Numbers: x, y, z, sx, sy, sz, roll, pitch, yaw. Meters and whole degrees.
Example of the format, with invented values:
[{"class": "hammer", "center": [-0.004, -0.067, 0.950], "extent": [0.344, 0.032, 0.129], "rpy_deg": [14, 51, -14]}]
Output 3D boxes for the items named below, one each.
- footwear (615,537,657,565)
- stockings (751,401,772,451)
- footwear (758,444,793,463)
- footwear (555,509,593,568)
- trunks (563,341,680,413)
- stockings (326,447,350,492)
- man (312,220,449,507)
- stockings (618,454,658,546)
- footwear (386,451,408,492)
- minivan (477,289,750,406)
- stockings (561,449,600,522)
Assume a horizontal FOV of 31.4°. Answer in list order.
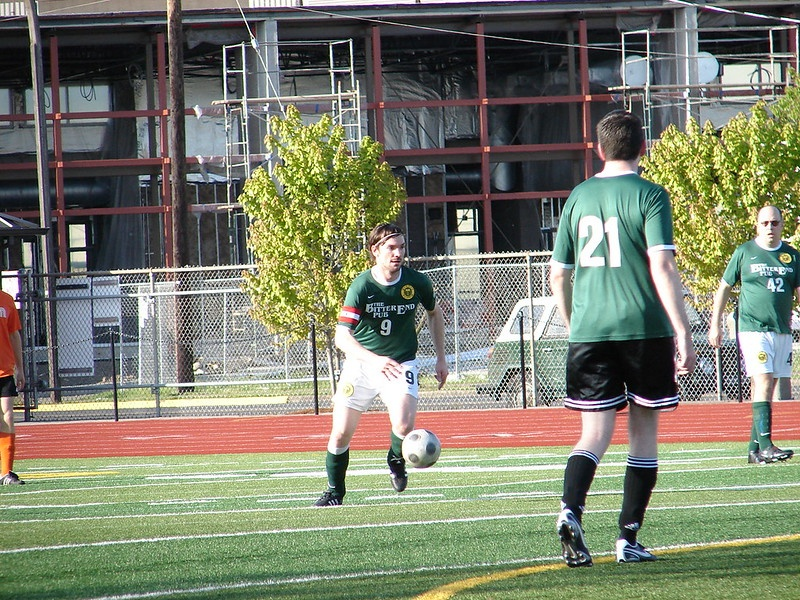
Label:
[{"class": "footwear", "center": [2.973, 3.100, 17.648], "extent": [0.572, 0.256, 0.210], "rpy_deg": [2, -3, -18]}, {"class": "stockings", "center": [5.362, 1.836, 21.018], "extent": [0.273, 0.712, 0.163], "rpy_deg": [-2, 3, 11]}, {"class": "footwear", "center": [5.520, 2.245, 20.891], "extent": [0.510, 0.248, 0.210], "rpy_deg": [-6, -3, 23]}, {"class": "footwear", "center": [2.131, 2.892, 17.532], "extent": [0.285, 0.822, 0.411], "rpy_deg": [-18, -8, 17]}, {"class": "trunks", "center": [2.865, 0.849, 18.031], "extent": [1.446, 1.084, 0.831], "rpy_deg": [-1, 1, 14]}, {"class": "stockings", "center": [-0.869, 2.360, 19.706], "extent": [0.286, 0.612, 0.225], "rpy_deg": [-3, 3, -7]}, {"class": "man", "center": [-0.292, 0.864, 19.706], "extent": [1.874, 3.837, 1.028], "rpy_deg": [-3, 3, -12]}, {"class": "stockings", "center": [3.011, 2.589, 17.821], "extent": [0.424, 1.283, 0.423], "rpy_deg": [6, 12, 21]}, {"class": "footwear", "center": [-0.043, 2.354, 19.958], "extent": [0.211, 0.651, 0.271], "rpy_deg": [-12, 11, -4]}, {"class": "minivan", "center": [4.148, 1.039, 28.072], "extent": [3.892, 1.860, 2.351], "rpy_deg": [-3, 0, 14]}, {"class": "stockings", "center": [2.219, 2.303, 17.677], "extent": [0.347, 0.883, 0.516], "rpy_deg": [0, 4, 44]}]
